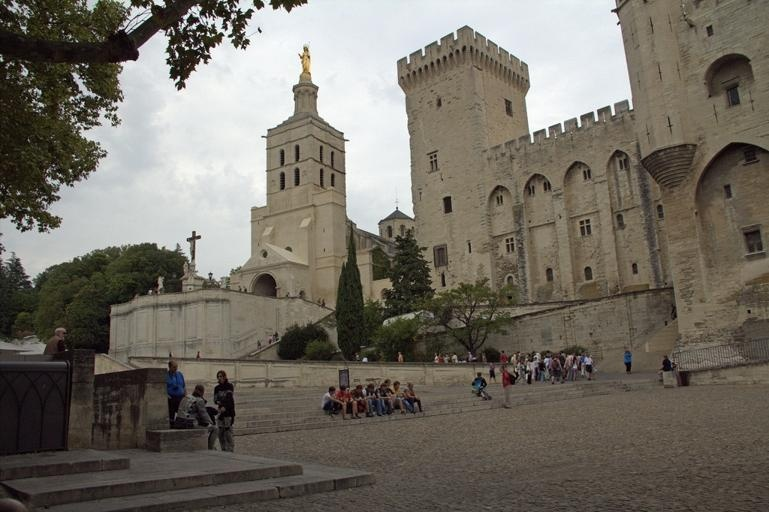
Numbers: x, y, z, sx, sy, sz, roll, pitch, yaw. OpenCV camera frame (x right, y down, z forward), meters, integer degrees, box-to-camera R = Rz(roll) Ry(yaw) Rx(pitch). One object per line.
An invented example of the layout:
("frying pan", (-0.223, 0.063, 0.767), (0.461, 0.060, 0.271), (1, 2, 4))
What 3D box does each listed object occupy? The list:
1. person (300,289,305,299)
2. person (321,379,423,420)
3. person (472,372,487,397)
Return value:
("person", (-7.698, 3.650, 68.530), (0.577, 0.733, 0.793), (-2, -11, 6))
("person", (-0.430, 5.096, 25.865), (3.546, 1.276, 0.911), (4, -15, -29))
("person", (3.810, 5.222, 29.185), (0.499, 1.004, 1.687), (-5, -13, 5))
